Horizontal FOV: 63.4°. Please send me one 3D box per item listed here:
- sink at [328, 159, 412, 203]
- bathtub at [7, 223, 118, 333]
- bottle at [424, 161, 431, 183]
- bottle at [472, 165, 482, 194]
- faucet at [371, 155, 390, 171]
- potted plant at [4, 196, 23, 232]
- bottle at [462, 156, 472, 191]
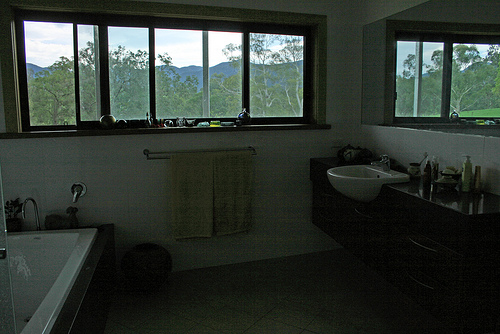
[{"bbox_3d":[1.048,0.171,3.737,0.562,0.247,0.718,-5,10,-15],"label":"sink"},{"bbox_3d":[-1.505,0.866,3.248,0.776,0.683,1.569,0,7,-17],"label":"bathtub"},{"bbox_3d":[1.537,0.046,3.497,0.052,0.176,0.067,1,14,23],"label":"bottle"},{"bbox_3d":[1.805,0.102,3.205,0.065,0.212,0.123,3,14,30],"label":"bottle"},{"bbox_3d":[1.263,-0.039,3.873,0.146,0.135,0.206,2,4,18],"label":"faucet"},{"bbox_3d":[-2.201,0.454,3.778,0.154,0.296,0.246,-11,14,-28],"label":"potted plant"},{"bbox_3d":[1.730,0.079,3.229,0.058,0.223,0.073,3,15,30],"label":"bottle"}]
